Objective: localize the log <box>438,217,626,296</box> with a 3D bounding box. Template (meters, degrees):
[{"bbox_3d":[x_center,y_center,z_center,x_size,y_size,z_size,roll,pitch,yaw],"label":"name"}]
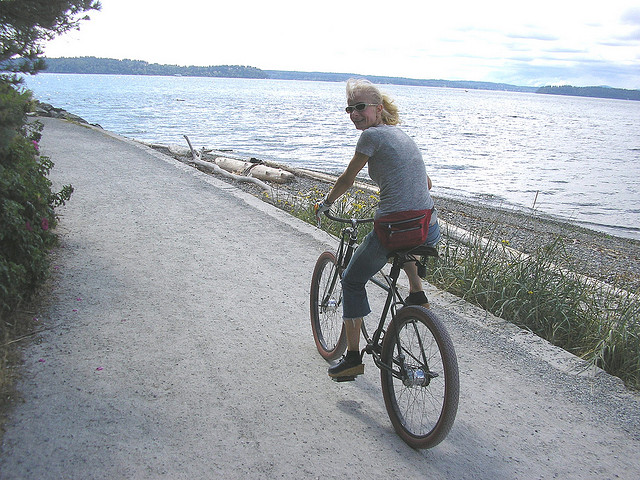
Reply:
[{"bbox_3d":[3.981,0.272,8.748,3.512,0.260,0.352,24,18,-5],"label":"log"}]

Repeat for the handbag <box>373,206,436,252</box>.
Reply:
[{"bbox_3d":[0.697,-0.137,3.974,0.458,0.305,0.625,-8,13,9],"label":"handbag"}]

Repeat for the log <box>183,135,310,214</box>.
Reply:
[{"bbox_3d":[-2.931,-2.482,16.666,4.271,0.956,0.931,13,20,-36],"label":"log"}]

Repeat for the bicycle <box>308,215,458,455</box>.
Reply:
[{"bbox_3d":[0.468,0.762,4.291,1.028,1.309,2.236,-6,18,-25],"label":"bicycle"}]
